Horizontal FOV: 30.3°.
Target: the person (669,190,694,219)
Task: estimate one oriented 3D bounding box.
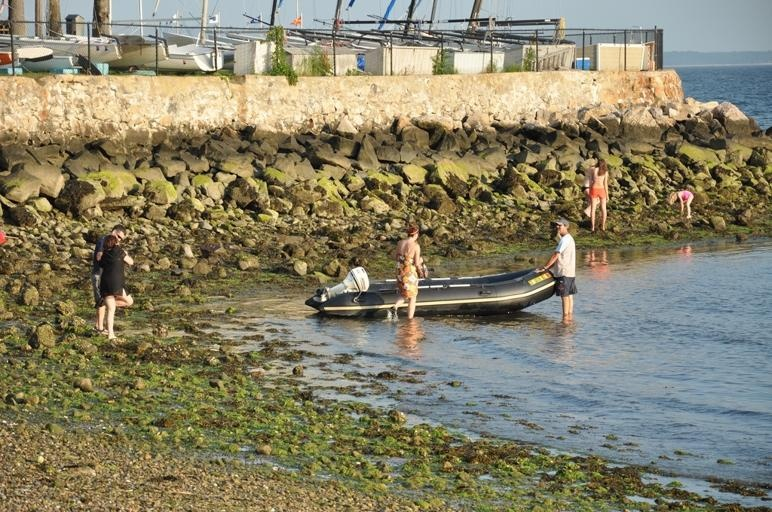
[{"bbox_3d":[9.936,-1.779,48.027,0.779,0.914,2.061,3,7,11],"label":"person"}]

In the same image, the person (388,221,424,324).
[{"bbox_3d":[0.564,0.422,37.983,0.897,2.392,1.230,1,0,-6],"label":"person"}]

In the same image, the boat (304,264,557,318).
[{"bbox_3d":[1.190,0.915,39.005,7.328,1.548,2.231,-3,11,-5],"label":"boat"}]

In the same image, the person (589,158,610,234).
[{"bbox_3d":[6.869,-1.958,46.080,0.585,2.323,1.601,2,7,9],"label":"person"}]
